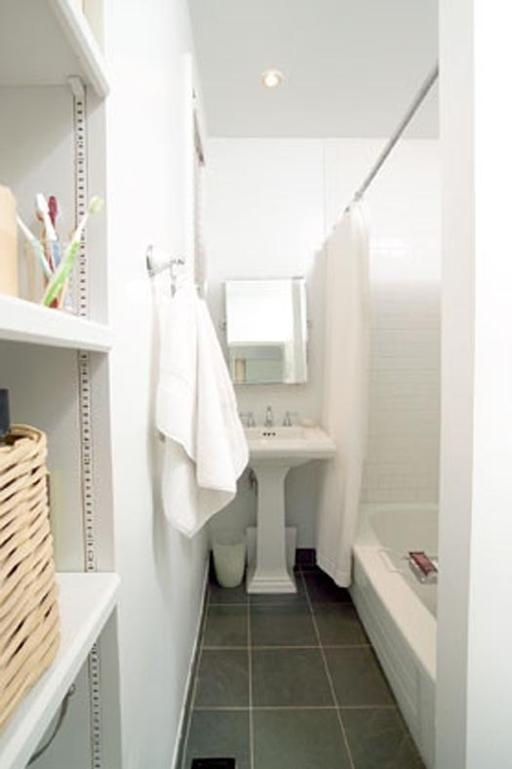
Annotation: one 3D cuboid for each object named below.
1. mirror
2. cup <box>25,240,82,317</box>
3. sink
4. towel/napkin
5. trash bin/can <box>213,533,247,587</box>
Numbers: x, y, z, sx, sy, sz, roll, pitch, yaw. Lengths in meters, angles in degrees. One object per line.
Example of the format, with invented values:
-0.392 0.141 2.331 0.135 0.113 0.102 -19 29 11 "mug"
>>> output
0.029 -0.235 2.204 0.255 0.535 0.046 -1 3 -4 "mirror"
-0.255 -0.142 0.725 0.049 0.086 0.040 -4 8 -28 "cup"
0.127 0.248 2.173 0.339 0.131 0.251 -1 9 -4 "sink"
-0.124 0.018 1.293 0.200 0.606 0.289 0 7 -2 "towel/napkin"
-0.099 0.692 2.235 0.116 0.224 0.138 0 -5 -4 "trash bin/can"
